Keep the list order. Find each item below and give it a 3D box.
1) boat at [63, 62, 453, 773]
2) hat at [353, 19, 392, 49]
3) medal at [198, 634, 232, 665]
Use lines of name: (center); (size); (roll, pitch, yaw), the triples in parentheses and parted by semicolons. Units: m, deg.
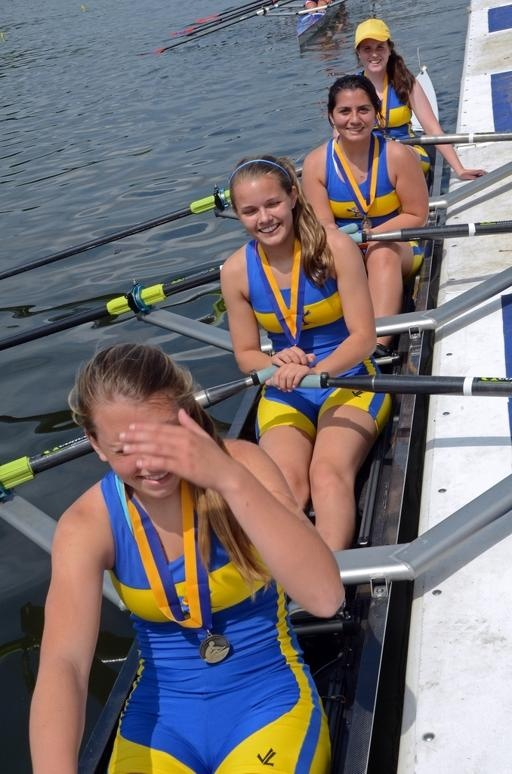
boat: (0.289, -0.599, 3.178); (0.838, 1.063, 3.305); (2, 42, 21)
hat: (0.886, -2.756, 5.416); (0.212, 0.153, 0.310); (-7, 15, 17)
medal: (-0.094, 0.597, 1.600); (0.069, 0.064, 0.065); (0, 1, -6)
